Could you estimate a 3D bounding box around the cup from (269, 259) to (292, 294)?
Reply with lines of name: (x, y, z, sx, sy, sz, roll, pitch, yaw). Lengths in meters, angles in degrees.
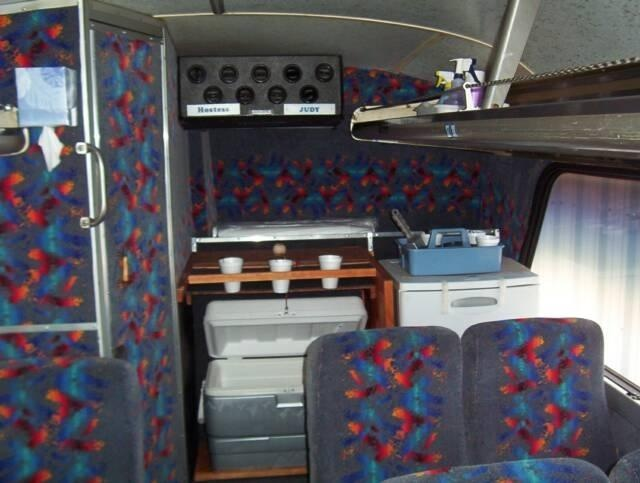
cup: (-0.176, 0.176, 2.873, 0.167, 0.169, 0.162, 2, 6, 0)

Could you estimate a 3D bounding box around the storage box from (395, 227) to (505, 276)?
storage box: (0.652, 0.029, 2.688, 0.425, 0.184, 0.232, -3, 8, 0)

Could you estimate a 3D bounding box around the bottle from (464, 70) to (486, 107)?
bottle: (0.464, -0.473, 1.684, 0.063, 0.135, 0.296, 2, 13, 15)

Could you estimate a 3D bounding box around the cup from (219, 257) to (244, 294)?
cup: (-0.439, 0.166, 2.881, 0.176, 0.183, 0.166, 2, 10, 0)

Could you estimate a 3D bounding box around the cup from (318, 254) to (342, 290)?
cup: (0.049, 0.150, 2.845, 0.175, 0.171, 0.160, 1, 11, 0)
